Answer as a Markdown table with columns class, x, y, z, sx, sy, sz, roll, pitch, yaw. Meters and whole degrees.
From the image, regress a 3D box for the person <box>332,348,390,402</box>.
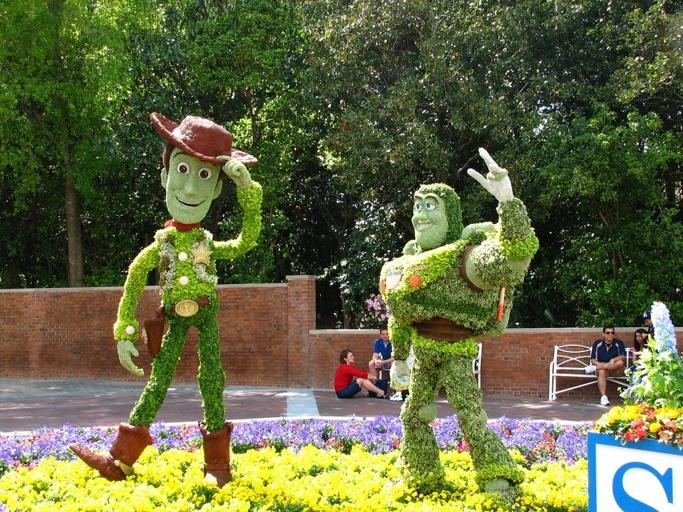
| class | x | y | z | sx | sy | sz | roll | pitch | yaw |
| --- | --- | --- | --- | --- | --- | --- | --- | --- | --- |
| person | 0.411 | 2.443 | 16.117 | 1.115 | 1.035 | 0.585 | -2 | 0 | -3 |

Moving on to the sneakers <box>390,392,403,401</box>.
| class | x | y | z | sx | sy | sz | roll | pitch | yaw |
| --- | --- | --- | --- | --- | --- | --- | --- | --- | --- |
| sneakers | 1.101 | 2.834 | 15.559 | 0.246 | 0.262 | 0.165 | 1 | -10 | 38 |

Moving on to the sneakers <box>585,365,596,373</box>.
| class | x | y | z | sx | sy | sz | roll | pitch | yaw |
| --- | --- | --- | --- | --- | --- | --- | --- | --- | --- |
| sneakers | 4.945 | 2.248 | 15.372 | 0.189 | 0.135 | 0.122 | -11 | 8 | 14 |

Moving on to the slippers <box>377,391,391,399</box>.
| class | x | y | z | sx | sy | sz | roll | pitch | yaw |
| --- | --- | --- | --- | --- | --- | --- | --- | --- | --- |
| slippers | 0.880 | 2.873 | 15.951 | 0.227 | 0.092 | 0.110 | -2 | 1 | -18 |

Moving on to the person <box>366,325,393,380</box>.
| class | x | y | z | sx | sy | sz | roll | pitch | yaw |
| --- | --- | --- | --- | --- | --- | --- | --- | --- | --- |
| person | 0.871 | 2.113 | 16.230 | 0.560 | 1.132 | 0.673 | -2 | 10 | 4 |

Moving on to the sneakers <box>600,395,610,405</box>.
| class | x | y | z | sx | sy | sz | roll | pitch | yaw |
| --- | --- | --- | --- | --- | --- | --- | --- | --- | --- |
| sneakers | 5.139 | 2.832 | 15.135 | 0.127 | 0.168 | 0.373 | -1 | -8 | -4 |
